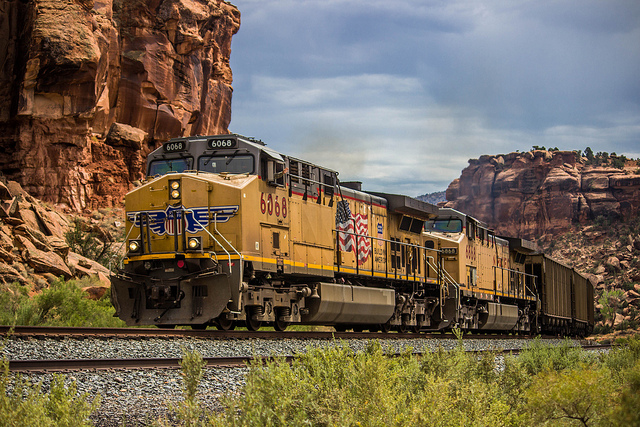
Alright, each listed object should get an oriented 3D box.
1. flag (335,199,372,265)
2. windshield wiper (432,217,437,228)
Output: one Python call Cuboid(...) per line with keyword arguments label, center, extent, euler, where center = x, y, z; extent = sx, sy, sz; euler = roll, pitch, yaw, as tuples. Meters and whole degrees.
Cuboid(label="flag", center=(1.543, 0.940, 45.565), extent=(0.233, 2.405, 2.606), euler=(-6, -14, 29))
Cuboid(label="windshield wiper", center=(6.165, 0.434, 51.764), extent=(0.075, 0.596, 0.093), euler=(29, 1, 26))
